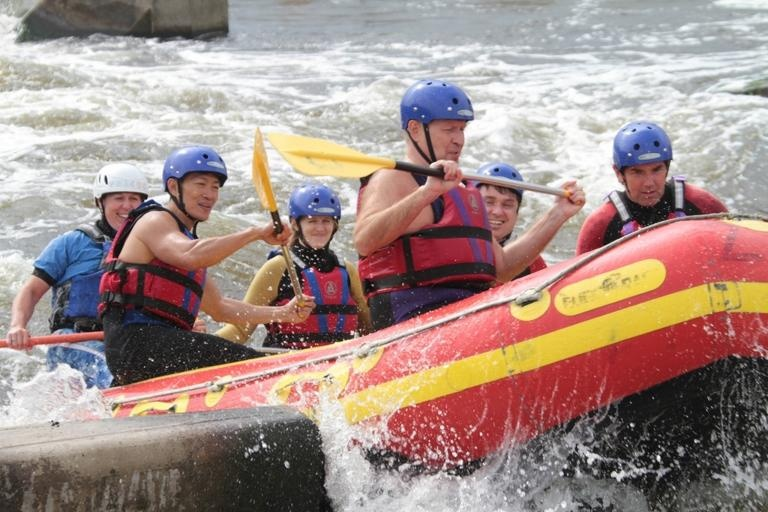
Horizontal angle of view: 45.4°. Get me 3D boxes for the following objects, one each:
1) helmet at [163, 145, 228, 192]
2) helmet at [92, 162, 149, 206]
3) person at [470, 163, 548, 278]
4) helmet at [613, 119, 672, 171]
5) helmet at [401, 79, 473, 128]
[{"bbox_3d":[-1.400,-0.655,6.713,0.421,0.242,0.324,10,0,25],"label":"helmet"},{"bbox_3d":[-2.293,-0.654,7.995,0.334,0.286,0.420,2,1,-32],"label":"helmet"},{"bbox_3d":[0.986,-0.326,7.598,0.641,0.953,0.523,0,10,-24],"label":"person"},{"bbox_3d":[1.903,-0.790,7.054,0.367,0.341,0.439,-8,-26,-9],"label":"helmet"},{"bbox_3d":[0.323,-1.012,6.069,0.412,0.243,0.331,9,13,29],"label":"helmet"}]
